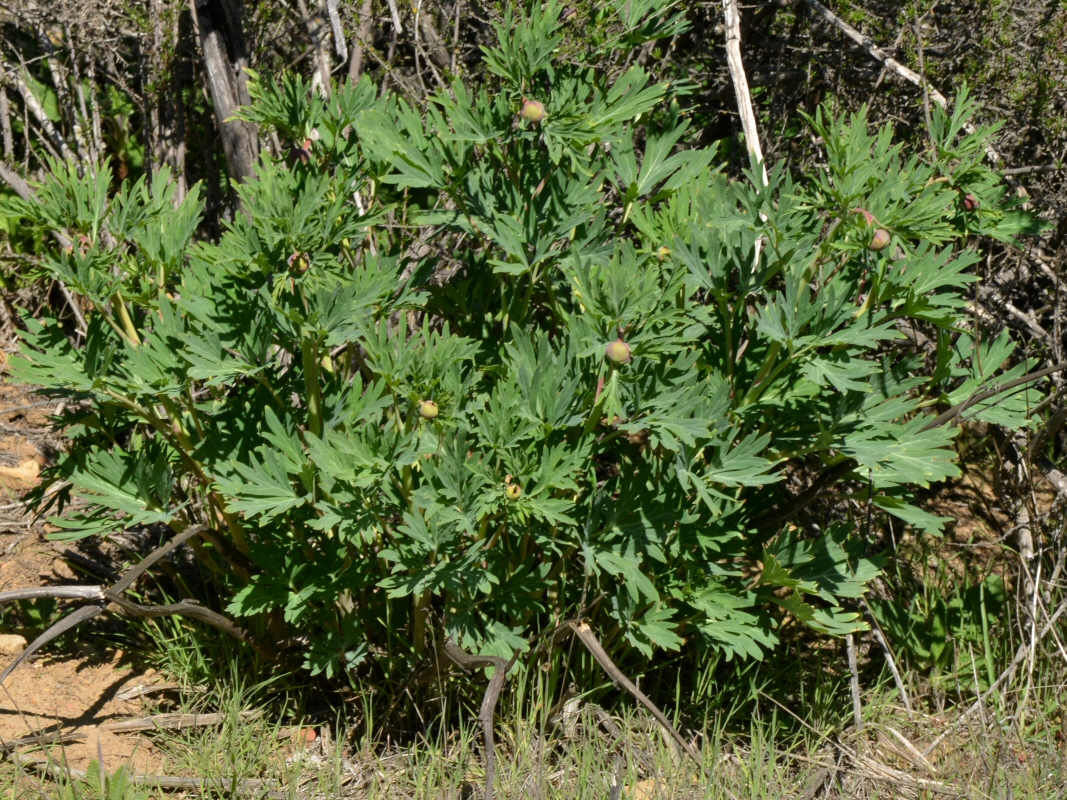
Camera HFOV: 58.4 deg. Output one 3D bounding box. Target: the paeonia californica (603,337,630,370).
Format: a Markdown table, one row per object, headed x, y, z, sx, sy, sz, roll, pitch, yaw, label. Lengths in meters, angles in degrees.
| x | y | z | sx | sy | sz | roll | pitch | yaw | label |
| --- | --- | --- | --- | --- | --- | --- | --- | --- | --- |
| 0.202 | -0.106 | 2.260 | 0.060 | 0.064 | 0.082 | 5 | -15 | 11 | paeonia californica |

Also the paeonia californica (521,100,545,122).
| x | y | z | sx | sy | sz | roll | pitch | yaw | label |
| --- | --- | --- | --- | --- | --- | --- | --- | --- | --- |
| -0.006 | -0.745 | 2.472 | 0.058 | 0.054 | 0.034 | 10 | 2 | 6 | paeonia californica |
